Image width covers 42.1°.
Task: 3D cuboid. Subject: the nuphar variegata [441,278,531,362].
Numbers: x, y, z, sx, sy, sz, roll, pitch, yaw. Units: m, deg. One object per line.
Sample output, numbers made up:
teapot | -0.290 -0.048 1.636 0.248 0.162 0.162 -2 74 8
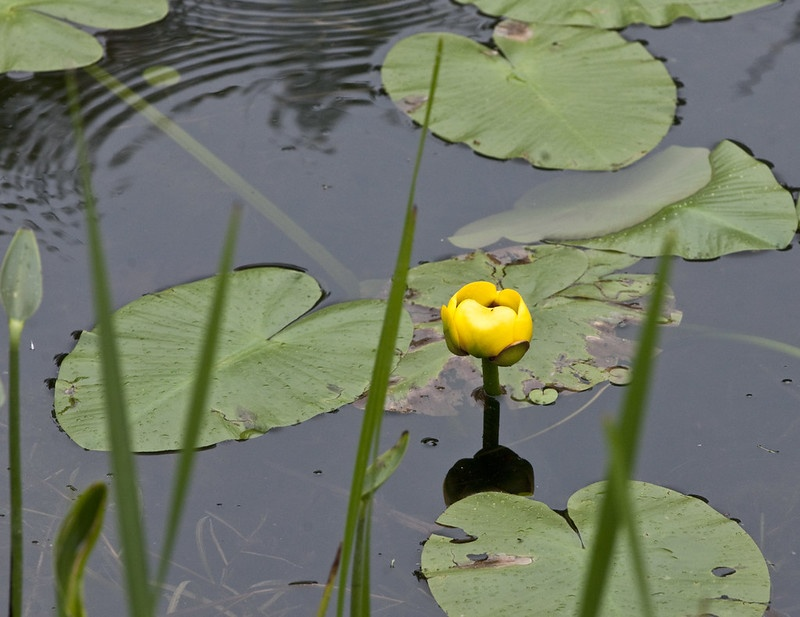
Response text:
nuphar variegata | 0.159 0.027 1.901 0.174 0.092 0.160 -2 34 -9
